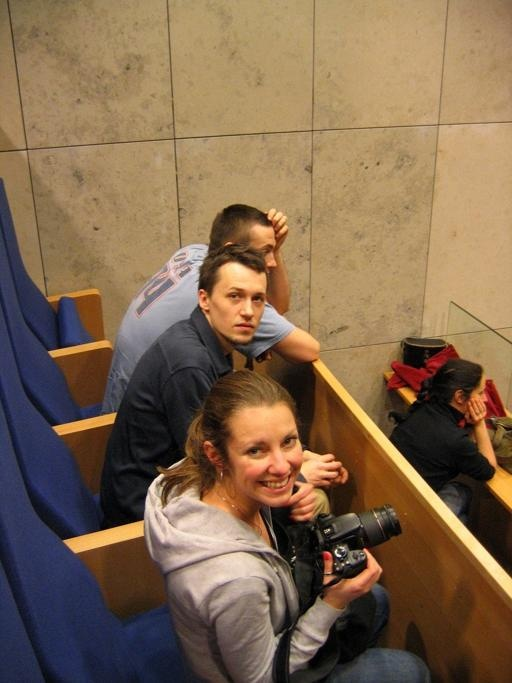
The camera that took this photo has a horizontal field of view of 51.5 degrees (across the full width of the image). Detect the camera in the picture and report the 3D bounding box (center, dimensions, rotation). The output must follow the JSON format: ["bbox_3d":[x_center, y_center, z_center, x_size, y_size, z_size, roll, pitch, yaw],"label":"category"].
[{"bbox_3d":[0.204,0.410,1.120,0.158,0.090,0.147,-18,10,-8],"label":"camera"}]

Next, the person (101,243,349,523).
[{"bbox_3d":[-0.125,0.202,1.587,0.657,1.033,0.392,20,32,12],"label":"person"}]
